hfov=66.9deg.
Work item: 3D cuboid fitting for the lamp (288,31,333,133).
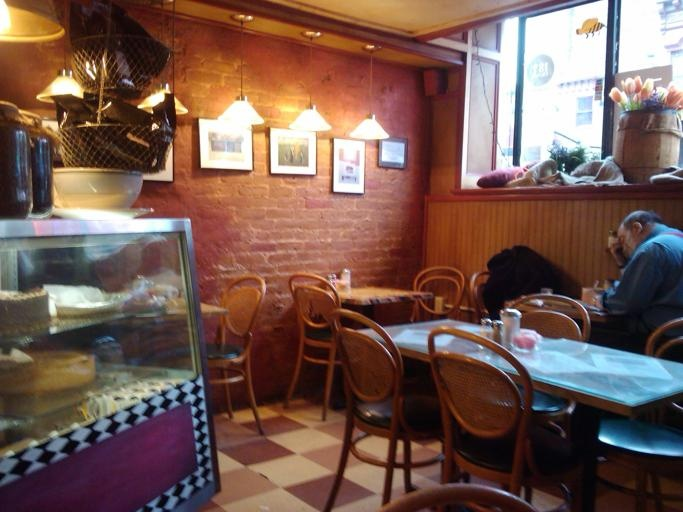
[{"bbox_3d":[-0.276,-1.563,4.643,0.381,0.848,0.592,1,5,-2],"label":"lamp"}]

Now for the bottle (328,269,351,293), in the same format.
[{"bbox_3d":[-0.008,0.230,4.846,0.251,0.267,0.142,0,1,7],"label":"bottle"}]

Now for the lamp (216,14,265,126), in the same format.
[{"bbox_3d":[-0.833,-1.529,4.282,0.374,0.864,0.489,0,5,-9],"label":"lamp"}]

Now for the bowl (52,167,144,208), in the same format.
[{"bbox_3d":[-1.029,-0.275,2.231,0.362,0.168,0.364,1,1,0],"label":"bowl"}]

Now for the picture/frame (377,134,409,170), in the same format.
[{"bbox_3d":[0.516,-1.107,5.385,0.390,0.337,0.035,-4,5,-43],"label":"picture/frame"}]

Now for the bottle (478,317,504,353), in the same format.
[{"bbox_3d":[0.842,0.445,2.905,0.116,0.215,0.139,1,-1,-22],"label":"bottle"}]

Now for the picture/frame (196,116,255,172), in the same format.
[{"bbox_3d":[-0.994,-0.952,4.326,0.458,0.396,0.036,-2,5,-35],"label":"picture/frame"}]

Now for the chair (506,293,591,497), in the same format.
[{"bbox_3d":[1.123,0.824,2.697,0.415,0.624,0.376,-21,-43,33],"label":"chair"}]

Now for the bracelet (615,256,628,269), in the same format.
[{"bbox_3d":[2.143,0.045,3.970,0.063,0.093,0.033,-3,2,35],"label":"bracelet"}]

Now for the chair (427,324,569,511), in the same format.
[{"bbox_3d":[0.714,0.707,2.312,0.626,0.790,0.386,3,5,20],"label":"chair"}]

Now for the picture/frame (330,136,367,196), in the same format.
[{"bbox_3d":[0.050,-0.909,5.082,0.539,0.708,0.054,-5,7,-42],"label":"picture/frame"}]

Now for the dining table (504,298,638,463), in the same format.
[{"bbox_3d":[1.075,0.692,3.033,0.715,0.803,0.598,10,-4,-20],"label":"dining table"}]

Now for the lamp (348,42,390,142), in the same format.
[{"bbox_3d":[0.265,-1.565,4.975,0.376,0.891,0.755,1,5,4],"label":"lamp"}]

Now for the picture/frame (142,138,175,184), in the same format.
[{"bbox_3d":[-1.423,-0.737,4.050,0.225,0.295,0.132,-2,6,-28],"label":"picture/frame"}]

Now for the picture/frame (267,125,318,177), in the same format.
[{"bbox_3d":[-0.469,-0.973,4.694,0.471,0.408,0.044,-1,1,-39],"label":"picture/frame"}]
